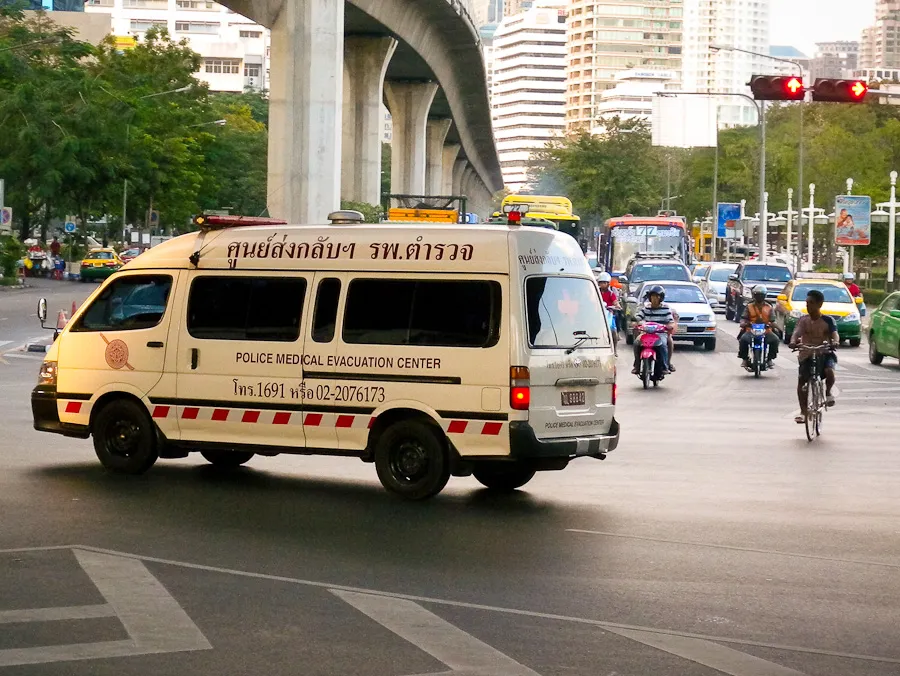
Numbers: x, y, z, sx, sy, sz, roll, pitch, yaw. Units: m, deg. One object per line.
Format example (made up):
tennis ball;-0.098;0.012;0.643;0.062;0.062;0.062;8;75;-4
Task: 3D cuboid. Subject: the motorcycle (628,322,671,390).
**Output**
motorcycle;3.855;0.306;24.000;0.519;1.228;0.925;4;6;34

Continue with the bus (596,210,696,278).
bus;7.044;-3.284;45.226;3.053;2.364;4.889;0;6;12

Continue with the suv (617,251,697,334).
suv;5.600;-1.123;34.741;2.087;2.476;2.670;0;5;8

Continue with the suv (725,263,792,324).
suv;10.818;-1.892;42.870;2.040;1.830;4.144;1;-1;0

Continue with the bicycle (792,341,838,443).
bicycle;5.156;0.707;17.512;0.366;1.301;1.829;3;5;17

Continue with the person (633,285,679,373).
person;4.038;-0.191;24.393;0.863;1.689;0.726;0;6;12
